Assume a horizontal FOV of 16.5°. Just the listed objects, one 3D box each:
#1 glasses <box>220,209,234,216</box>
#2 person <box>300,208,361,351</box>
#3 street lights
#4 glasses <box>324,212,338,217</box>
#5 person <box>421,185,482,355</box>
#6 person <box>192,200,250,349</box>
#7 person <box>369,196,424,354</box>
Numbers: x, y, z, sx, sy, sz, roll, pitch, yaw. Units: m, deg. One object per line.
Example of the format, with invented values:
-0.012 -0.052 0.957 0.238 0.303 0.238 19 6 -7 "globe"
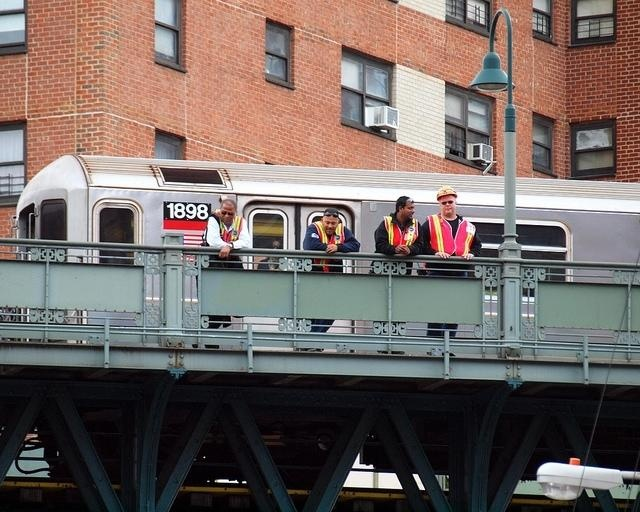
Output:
-1.578 -0.778 36.504 0.211 0.106 0.095 -2 -2 3 "glasses"
0.121 0.336 36.620 0.981 2.336 0.897 -2 -2 1 "person"
3.005 -1.304 36.930 0.617 5.832 0.966 -2 -2 4 "street lights"
0.177 -0.738 36.584 0.266 0.071 0.146 -1 -2 -30 "glasses"
2.196 0.150 36.972 0.902 2.739 0.874 0 7 -6 "person"
-1.651 0.028 36.758 0.615 2.119 0.713 2 9 -23 "person"
1.257 0.120 36.549 0.635 2.808 0.691 1 -5 -35 "person"
